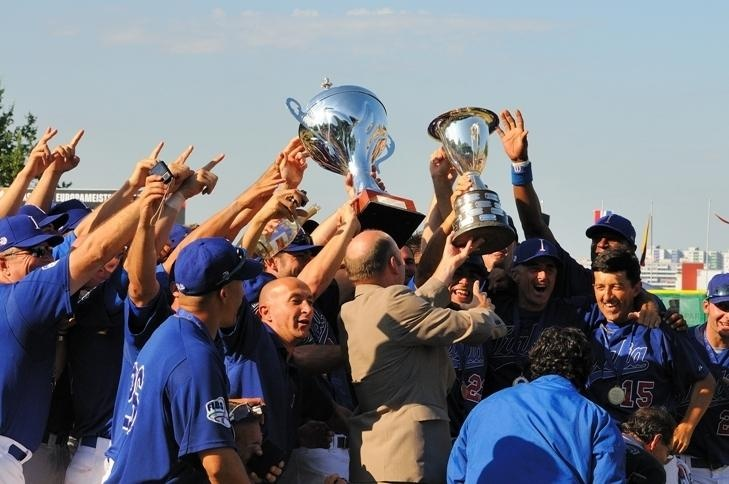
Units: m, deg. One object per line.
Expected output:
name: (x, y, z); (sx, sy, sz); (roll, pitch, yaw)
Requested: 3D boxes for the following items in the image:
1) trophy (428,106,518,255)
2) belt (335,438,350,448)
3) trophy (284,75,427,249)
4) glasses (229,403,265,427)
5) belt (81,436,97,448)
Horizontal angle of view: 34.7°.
trophy: (1.025, -0.579, 11.237); (0.604, 1.479, 1.620); (-1, -1, -15)
belt: (-0.214, 1.898, 11.130); (0.142, 0.102, 0.102); (4, -6, -17)
trophy: (-0.089, -0.869, 12.257); (1.097, 1.750, 0.795); (4, -37, -39)
glasses: (-1.038, 1.502, 10.216); (0.381, 0.156, 0.111); (-7, 11, -36)
belt: (-2.605, 1.881, 11.041); (0.192, 0.120, 0.107); (-2, -11, -1)
